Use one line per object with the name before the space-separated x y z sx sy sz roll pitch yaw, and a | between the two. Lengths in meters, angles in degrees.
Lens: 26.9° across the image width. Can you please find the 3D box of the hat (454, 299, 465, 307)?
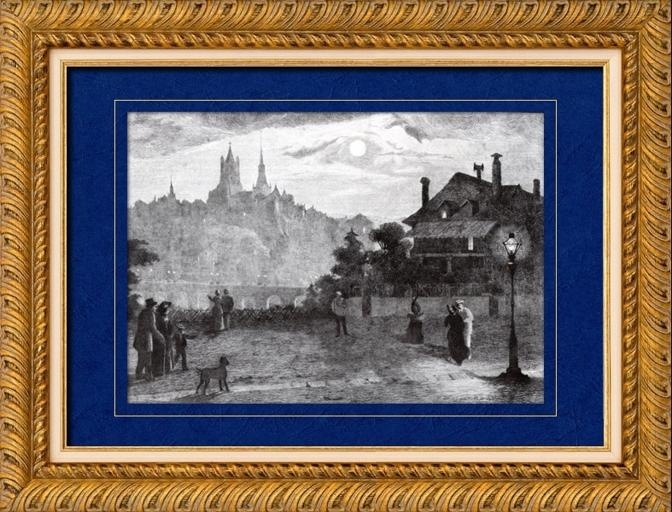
hat | 0.824 0.322 9.330 0.042 0.051 0.048 0 1 7
